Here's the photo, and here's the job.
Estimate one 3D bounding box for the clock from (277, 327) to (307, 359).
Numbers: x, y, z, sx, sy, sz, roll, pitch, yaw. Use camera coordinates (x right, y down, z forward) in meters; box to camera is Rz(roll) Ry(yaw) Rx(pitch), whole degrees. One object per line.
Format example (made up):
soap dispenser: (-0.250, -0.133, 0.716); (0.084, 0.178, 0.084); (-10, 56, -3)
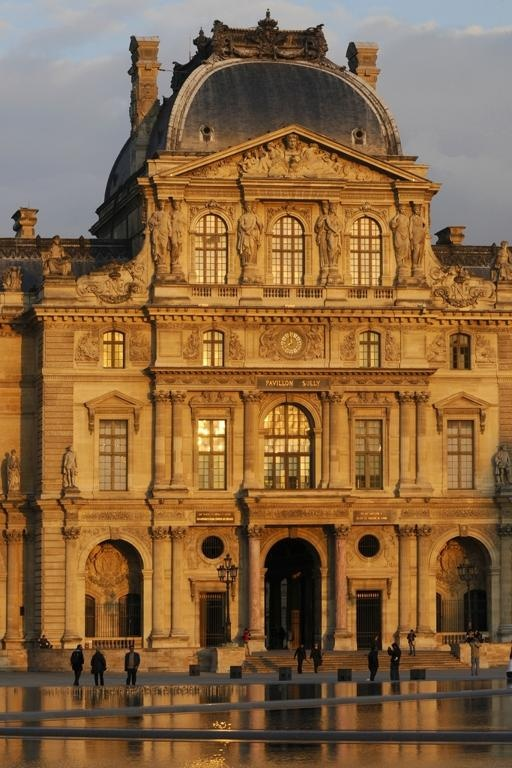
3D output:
clock: (1.485, -1.500, 99.278); (0.977, 1.088, 0.148); (6, 1, -1)

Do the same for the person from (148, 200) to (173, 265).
person: (-3.861, -5.757, 98.775); (0.853, 2.795, 0.586); (0, -7, -3)

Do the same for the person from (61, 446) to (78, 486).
person: (-7.432, 3.480, 97.413); (0.605, 1.800, 0.634); (1, -7, -7)

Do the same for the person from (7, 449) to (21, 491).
person: (-9.935, 3.734, 100.202); (0.503, 1.894, 1.061); (1, -7, -7)

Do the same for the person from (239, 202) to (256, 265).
person: (-0.271, -5.847, 99.128); (0.798, 2.462, 0.497); (0, -7, 0)

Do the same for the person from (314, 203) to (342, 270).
person: (2.989, -5.802, 99.706); (1.047, 2.797, 0.834); (0, -7, 1)
